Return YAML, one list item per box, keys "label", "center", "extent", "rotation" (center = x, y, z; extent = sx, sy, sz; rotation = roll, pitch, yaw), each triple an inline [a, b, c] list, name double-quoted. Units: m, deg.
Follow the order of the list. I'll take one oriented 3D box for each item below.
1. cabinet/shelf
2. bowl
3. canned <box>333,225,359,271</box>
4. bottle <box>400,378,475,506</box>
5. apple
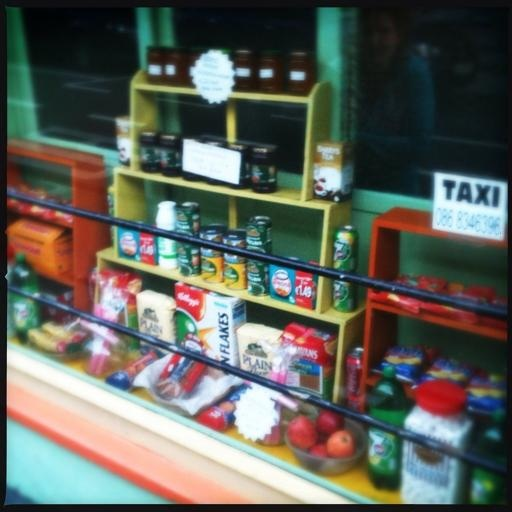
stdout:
- label: "cabinet/shelf"
  center: [-0.004, -0.157, 1.236]
  extent: [1.207, 0.587, 0.287]
  rotation: [8, 16, 27]
- label: "bowl"
  center: [0.176, 0.463, 1.208]
  extent: [0.153, 0.076, 0.153]
  rotation: [-1, 17, 0]
- label: "canned"
  center: [0.229, -0.023, 1.258]
  extent: [0.069, 0.114, 0.069]
  rotation: [-12, 30, -17]
- label: "bottle"
  center: [0.381, 0.412, 1.037]
  extent: [0.116, 0.265, 0.151]
  rotation: [-3, 14, -13]
- label: "apple"
  center: [0.167, 0.445, 1.219]
  extent: [0.122, 0.076, 0.135]
  rotation: [4, -2, -42]
